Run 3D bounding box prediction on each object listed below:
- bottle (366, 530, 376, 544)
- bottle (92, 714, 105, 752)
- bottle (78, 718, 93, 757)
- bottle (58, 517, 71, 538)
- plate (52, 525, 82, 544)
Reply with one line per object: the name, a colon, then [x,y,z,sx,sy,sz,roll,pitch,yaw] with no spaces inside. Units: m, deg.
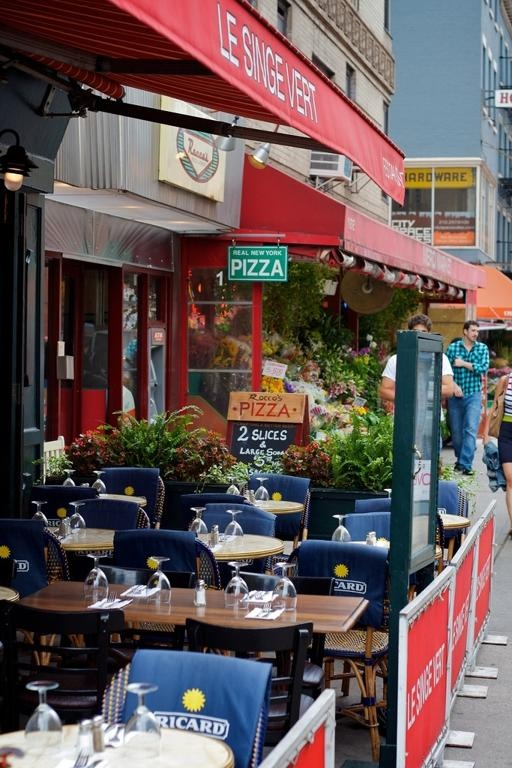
bottle: [0.671,0.897,4.916,0.061,0.086,0.060,-1,2,0]
bottle: [-0.310,0.684,1.647,0.022,0.064,0.103,1,0,-11]
bottle: [-0.340,0.701,1.678,0.028,0.060,0.073,1,-1,-17]
bottle: [-1.197,0.914,5.311,0.078,0.150,0.087,2,-3,7]
plate: [-1.160,0.950,5.195,0.144,0.038,0.151,2,0,12]
